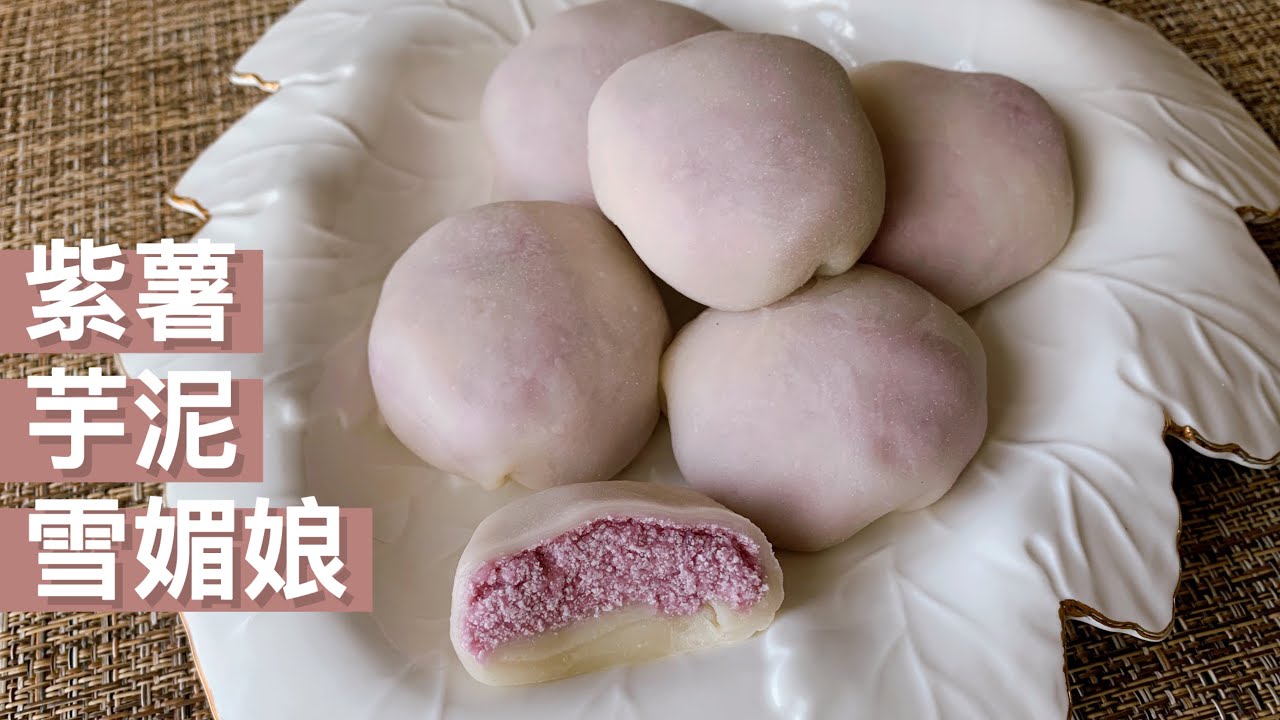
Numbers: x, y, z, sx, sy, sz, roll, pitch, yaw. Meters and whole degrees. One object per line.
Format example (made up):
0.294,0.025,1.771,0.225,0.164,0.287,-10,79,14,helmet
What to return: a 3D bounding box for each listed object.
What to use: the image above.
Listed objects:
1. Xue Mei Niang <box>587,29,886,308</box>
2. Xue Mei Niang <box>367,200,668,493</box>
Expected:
0.106,-0.220,1.675,0.312,0.132,0.279,-18,66,-5,Xue Mei Niang
-0.141,-0.016,1.718,0.341,0.141,0.309,1,66,4,Xue Mei Niang
